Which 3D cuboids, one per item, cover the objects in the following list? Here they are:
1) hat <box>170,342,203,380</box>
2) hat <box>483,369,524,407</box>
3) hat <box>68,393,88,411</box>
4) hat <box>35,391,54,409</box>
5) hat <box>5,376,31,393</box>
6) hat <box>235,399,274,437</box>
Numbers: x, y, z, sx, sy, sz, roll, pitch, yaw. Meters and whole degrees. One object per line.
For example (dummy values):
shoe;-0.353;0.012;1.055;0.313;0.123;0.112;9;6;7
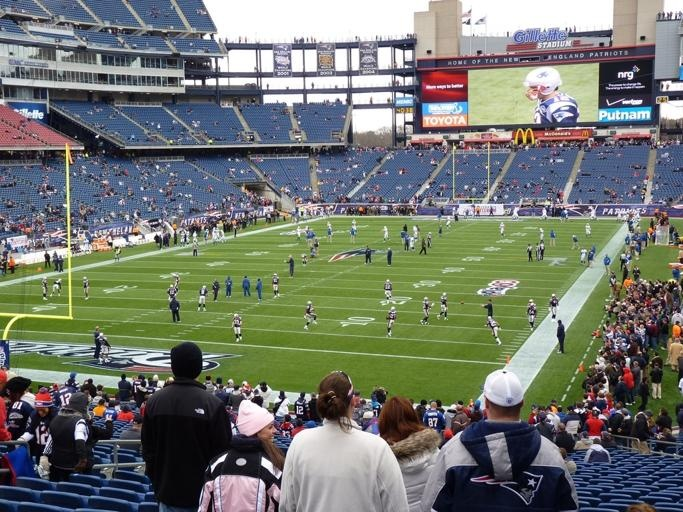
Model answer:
hat;-1.757;1.147;10.462;0.314;0.381;0.440;1;14;-7
hat;1.693;1.373;9.491;0.370;0.359;0.257;-1;2;16
hat;-3.486;1.932;12.036;0.258;0.276;0.239;-2;2;-17
hat;-4.032;1.955;12.342;0.166;0.170;0.218;2;-3;-11
hat;-4.370;1.762;12.340;0.231;0.107;0.292;15;10;35
hat;-0.935;1.726;9.965;0.387;0.379;0.301;12;13;11
